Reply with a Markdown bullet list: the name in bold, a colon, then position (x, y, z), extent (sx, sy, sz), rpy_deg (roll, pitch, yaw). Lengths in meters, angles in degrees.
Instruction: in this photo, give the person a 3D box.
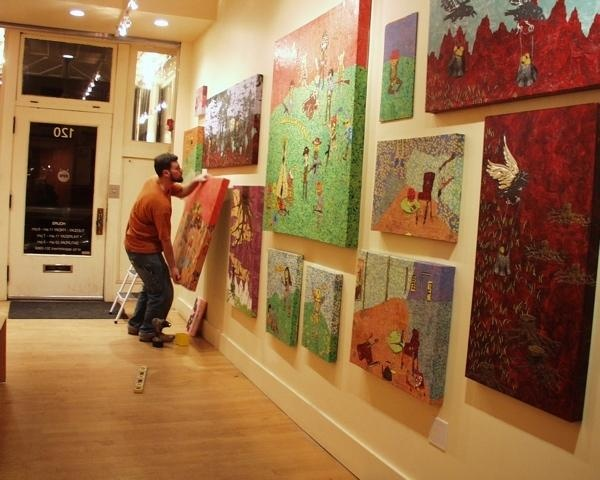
- **person**: position (-1.545, 0.067, 4.894), extent (0.697, 2.041, 0.648), rpy_deg (5, 7, 30)
